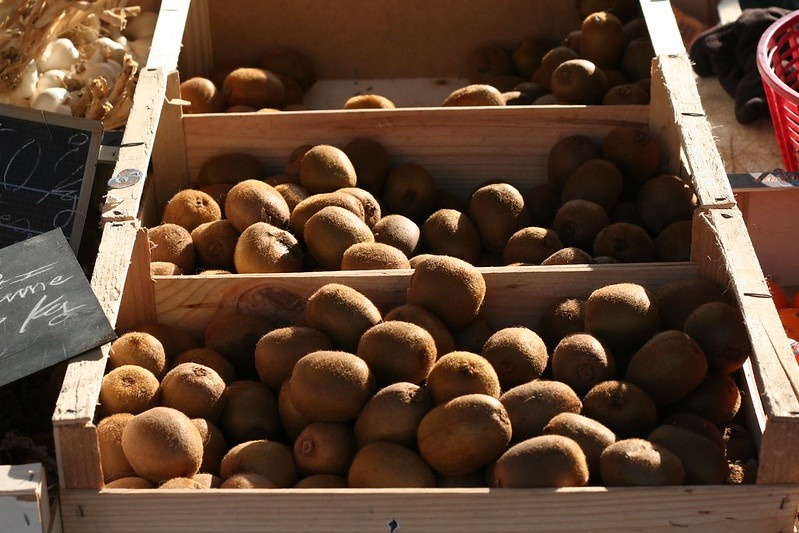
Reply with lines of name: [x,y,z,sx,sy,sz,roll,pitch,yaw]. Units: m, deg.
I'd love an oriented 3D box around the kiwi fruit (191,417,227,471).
kiwi fruit: [-0.477,0.458,2.165,0.088,0.095,0.125,-20,41,9]

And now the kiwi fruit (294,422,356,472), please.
kiwi fruit: [-0.201,0.462,2.157,0.121,0.134,0.168,14,-8,13]

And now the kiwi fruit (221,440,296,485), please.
kiwi fruit: [-0.354,0.474,2.116,0.138,0.115,0.109,4,18,24]
